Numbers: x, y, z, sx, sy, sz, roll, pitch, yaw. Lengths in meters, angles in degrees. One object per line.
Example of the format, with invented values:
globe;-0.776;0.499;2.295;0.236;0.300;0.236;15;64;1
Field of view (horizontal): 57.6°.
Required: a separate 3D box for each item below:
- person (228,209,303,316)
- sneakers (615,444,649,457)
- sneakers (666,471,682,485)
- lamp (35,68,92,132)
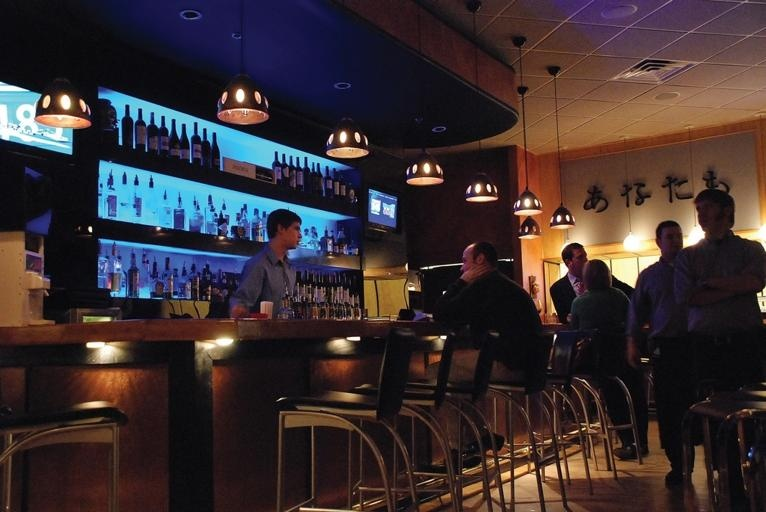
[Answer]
person;-0.912;0.036;5.403;0.487;0.870;0.979;1;-5;-3
sneakers;2.330;1.824;6.497;0.269;0.107;0.134;2;-5;-8
sneakers;2.275;1.737;5.444;0.117;0.083;0.114;-1;1;-13
lamp;-2.379;-1.175;5.226;0.406;0.368;0.380;-13;37;-41
